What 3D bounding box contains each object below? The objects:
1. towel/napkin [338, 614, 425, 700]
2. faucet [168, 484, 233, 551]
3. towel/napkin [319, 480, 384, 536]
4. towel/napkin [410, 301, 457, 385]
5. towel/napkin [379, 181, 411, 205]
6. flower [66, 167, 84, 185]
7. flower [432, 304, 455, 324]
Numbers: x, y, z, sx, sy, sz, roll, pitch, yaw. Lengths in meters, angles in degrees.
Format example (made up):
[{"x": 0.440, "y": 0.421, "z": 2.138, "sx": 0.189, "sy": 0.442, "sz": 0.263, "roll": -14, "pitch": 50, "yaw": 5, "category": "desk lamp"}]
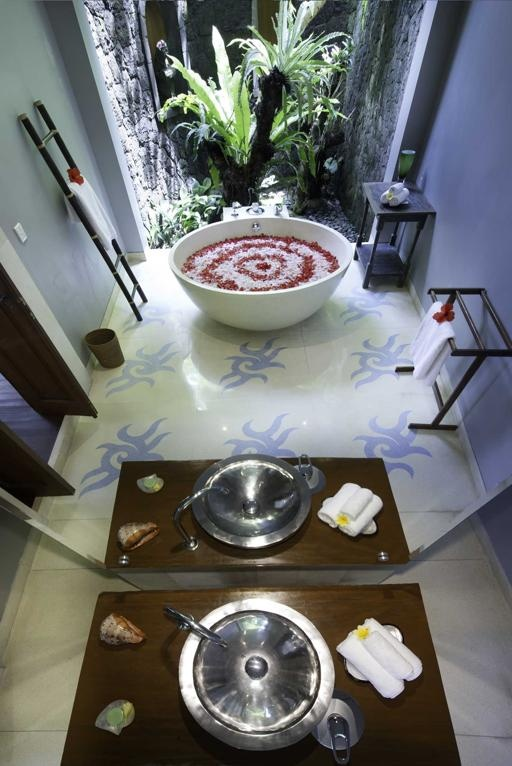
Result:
[{"x": 0.316, "y": 0.687, "z": 1.159, "sx": 0.148, "sy": 0.060, "sz": 0.165, "roll": -38, "pitch": 57, "yaw": -19, "category": "towel/napkin"}, {"x": -0.181, "y": 0.467, "z": 1.591, "sx": 0.184, "sy": 0.200, "sz": 0.051, "roll": -40, "pitch": 46, "yaw": -15, "category": "faucet"}, {"x": 0.337, "y": 0.427, "z": 1.597, "sx": 0.184, "sy": 0.062, "sz": 0.165, "roll": 35, "pitch": 59, "yaw": 26, "category": "towel/napkin"}, {"x": 1.041, "y": -0.215, "z": 2.715, "sx": 0.145, "sy": 0.449, "sz": 0.422, "roll": 10, "pitch": 49, "yaw": -2, "category": "towel/napkin"}, {"x": 1.023, "y": -1.358, "z": 3.422, "sx": 0.150, "sy": 0.114, "sz": 0.206, "roll": 31, "pitch": 59, "yaw": 18, "category": "towel/napkin"}, {"x": -1.135, "y": -1.311, "z": 2.944, "sx": 0.112, "sy": 0.085, "sz": 0.048, "roll": 10, "pitch": 11, "yaw": 37, "category": "flower"}, {"x": 1.007, "y": -0.371, "z": 2.493, "sx": 0.109, "sy": 0.105, "sz": 0.034, "roll": 12, "pitch": 0, "yaw": 40, "category": "flower"}]
